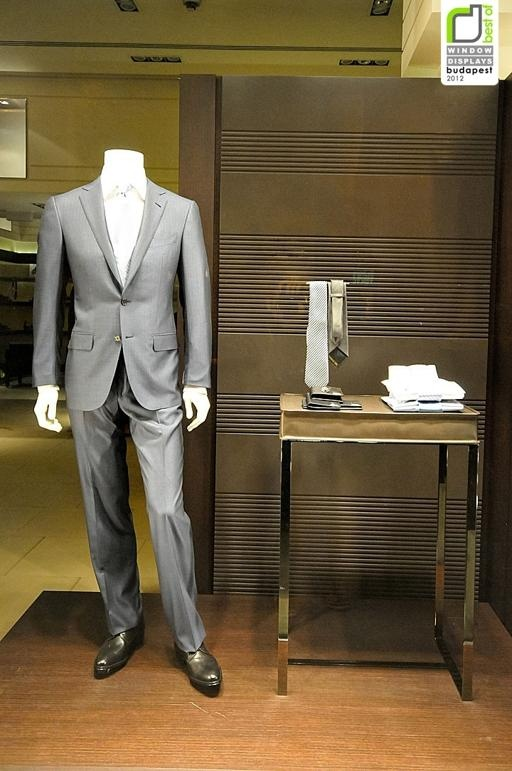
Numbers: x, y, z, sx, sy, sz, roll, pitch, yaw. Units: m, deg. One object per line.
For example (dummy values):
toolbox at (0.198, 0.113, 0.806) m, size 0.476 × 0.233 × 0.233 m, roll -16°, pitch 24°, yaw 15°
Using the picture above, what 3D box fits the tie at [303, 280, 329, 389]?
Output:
tie at (0.175, -0.148, 1.743) m, size 0.061 × 0.310 × 0.166 m, roll 1°, pitch 2°, yaw 5°

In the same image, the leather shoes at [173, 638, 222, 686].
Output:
leather shoes at (-0.154, 0.733, 1.668) m, size 0.062 × 0.072 × 0.166 m, roll -3°, pitch 2°, yaw -24°

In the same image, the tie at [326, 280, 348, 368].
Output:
tie at (0.236, -0.183, 1.785) m, size 0.055 × 0.242 × 0.131 m, roll 1°, pitch 2°, yaw 7°
